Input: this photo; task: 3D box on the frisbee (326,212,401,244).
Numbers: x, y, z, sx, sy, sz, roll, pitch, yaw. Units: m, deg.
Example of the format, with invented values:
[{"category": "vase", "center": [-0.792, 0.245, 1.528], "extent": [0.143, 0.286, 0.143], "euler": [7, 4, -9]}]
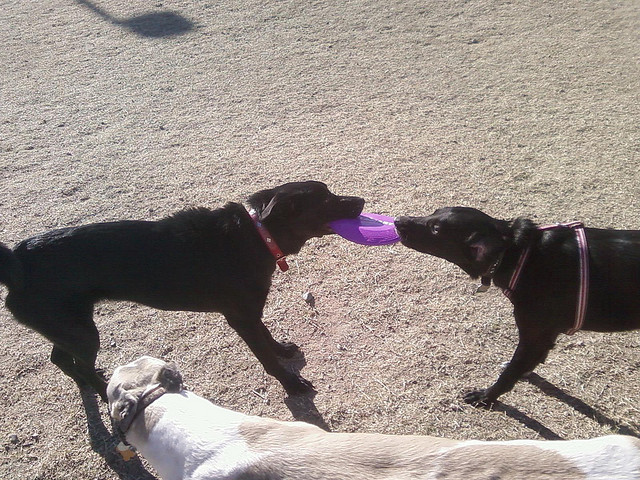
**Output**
[{"category": "frisbee", "center": [0.440, -0.109, 8.479], "extent": [0.603, 0.089, 0.403], "euler": [1, 19, 10]}]
